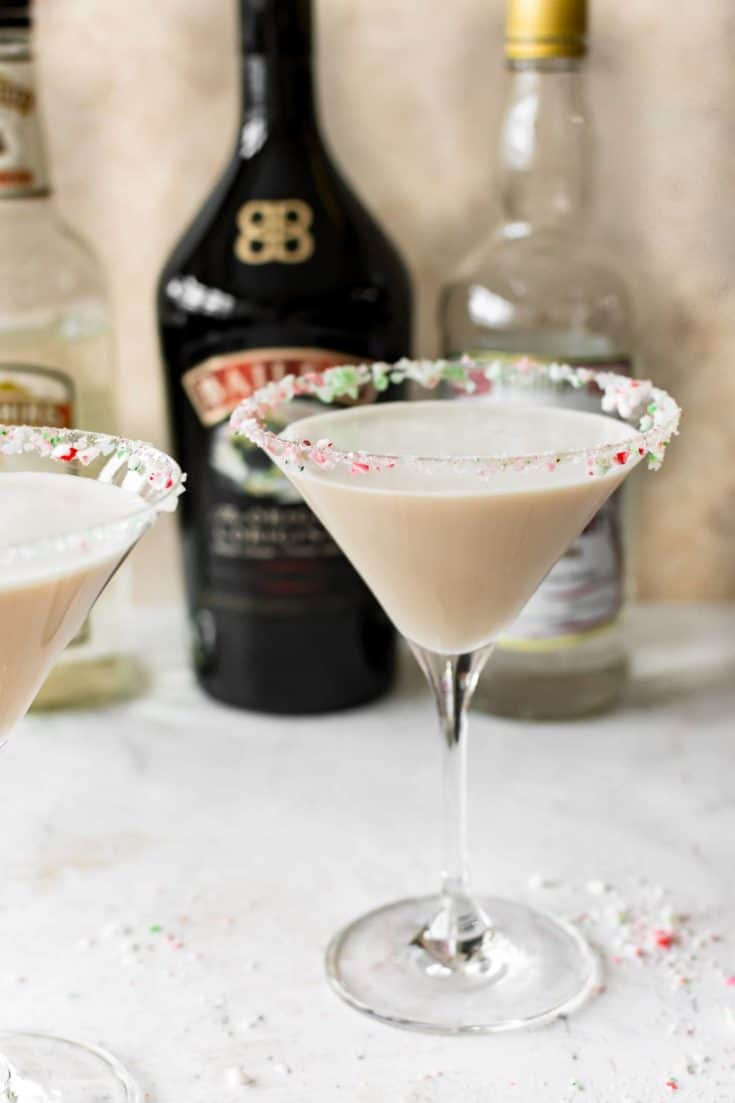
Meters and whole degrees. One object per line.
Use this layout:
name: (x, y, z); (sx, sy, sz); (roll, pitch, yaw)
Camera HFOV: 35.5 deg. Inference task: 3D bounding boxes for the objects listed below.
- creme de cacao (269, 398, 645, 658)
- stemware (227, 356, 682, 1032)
creme de cacao: (0.040, 0.001, 0.515); (0.164, 0.086, 0.139); (2, 4, -1)
stemware: (0.047, 0.076, 0.551); (0.249, 0.249, 0.223); (5, -3, -2)
